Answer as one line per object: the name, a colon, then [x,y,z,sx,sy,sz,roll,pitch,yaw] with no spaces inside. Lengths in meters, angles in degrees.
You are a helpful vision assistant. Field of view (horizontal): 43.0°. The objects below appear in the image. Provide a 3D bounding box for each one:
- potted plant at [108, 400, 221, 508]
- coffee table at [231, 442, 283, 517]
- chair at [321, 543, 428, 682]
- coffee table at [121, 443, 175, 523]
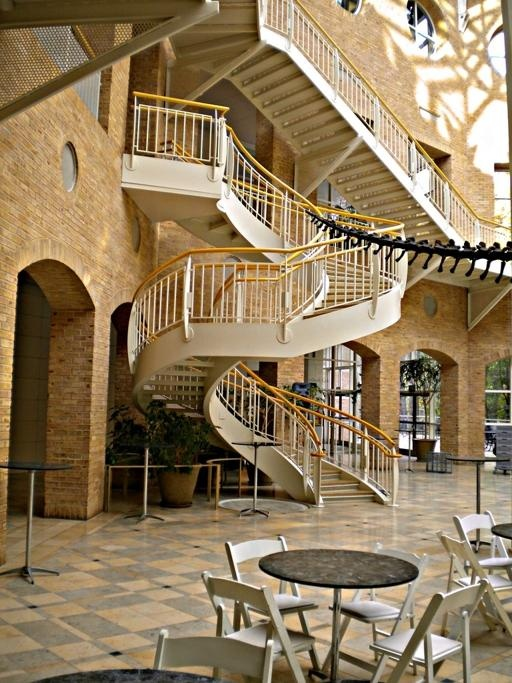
potted plant: [-1.277,1.664,8.866,1.089,1.292,1.176,-12,-22,4]
coffee table: [-0.027,1.780,8.602,0.739,0.908,0.754,-10,-22,42]
chair: [0.625,1.427,3.433,0.527,0.581,0.489,-1,-5,15]
coffee table: [-1.328,1.706,7.808,0.601,0.864,0.474,1,-16,-8]
